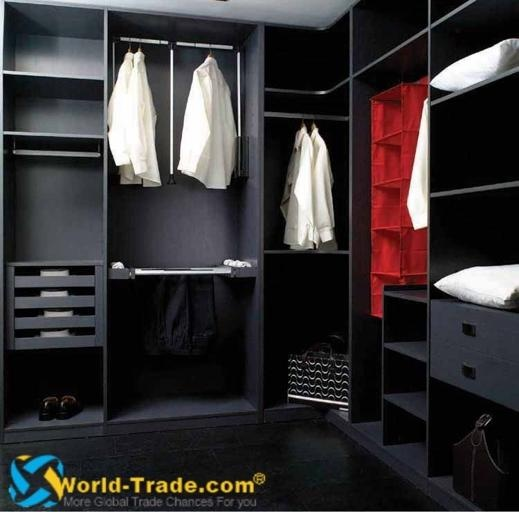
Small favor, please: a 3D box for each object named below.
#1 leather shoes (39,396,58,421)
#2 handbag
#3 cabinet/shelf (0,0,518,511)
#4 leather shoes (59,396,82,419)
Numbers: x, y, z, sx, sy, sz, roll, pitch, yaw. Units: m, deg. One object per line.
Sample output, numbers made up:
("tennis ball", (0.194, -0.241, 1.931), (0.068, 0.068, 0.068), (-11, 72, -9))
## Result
("leather shoes", (-1.195, 0.866, 2.894), (0.051, 0.106, 0.176), (1, -7, -6))
("handbag", (0.857, 0.792, 1.983), (0.207, 0.339, 0.151), (2, 5, 27))
("cabinet/shelf", (-0.093, -0.200, 2.962), (2.786, 2.404, 1.868), (2, 5, 26))
("leather shoes", (-1.104, 0.875, 2.990), (0.053, 0.087, 0.190), (0, 1, -2))
